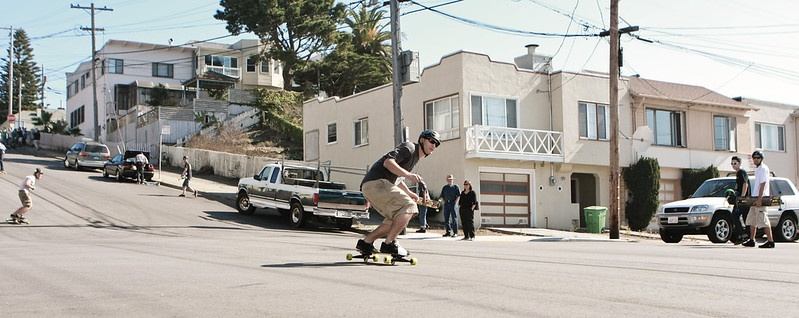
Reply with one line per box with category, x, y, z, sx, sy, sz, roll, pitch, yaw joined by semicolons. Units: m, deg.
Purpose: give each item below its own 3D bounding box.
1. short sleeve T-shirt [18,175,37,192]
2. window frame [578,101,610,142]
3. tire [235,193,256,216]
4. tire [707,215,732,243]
short sleeve T-shirt;-34.471;2.329;75.833;1.123;1.491;0.734;-34;-60;31
window frame;19.408;-3.781;82.330;5.601;4.209;0.477;1;-2;-22
tire;-14.488;4.257;77.105;2.665;2.065;0.884;-3;-1;26
tire;27.675;5.996;70.630;2.083;2.561;0.546;8;-9;-14
